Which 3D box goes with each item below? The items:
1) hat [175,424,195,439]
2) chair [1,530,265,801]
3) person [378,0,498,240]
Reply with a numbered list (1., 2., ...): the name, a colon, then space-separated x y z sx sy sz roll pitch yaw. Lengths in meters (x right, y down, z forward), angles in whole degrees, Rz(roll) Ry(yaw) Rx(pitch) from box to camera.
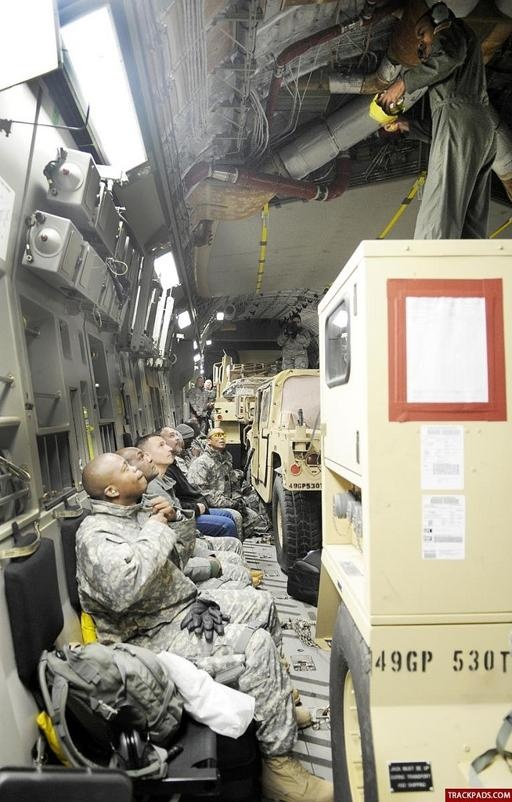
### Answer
1. hat: -0.862 0.386 6.355 0.197 0.157 0.158 -9 13 42
2. chair: -0.434 1.052 2.205 0.896 1.157 0.929 -1 -6 -12
3. person: 0.896 -1.244 2.473 0.415 1.146 0.298 4 -3 -31
